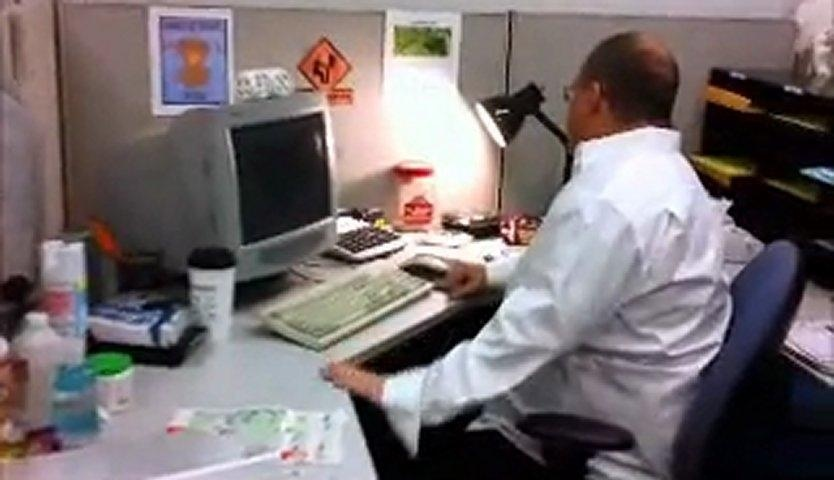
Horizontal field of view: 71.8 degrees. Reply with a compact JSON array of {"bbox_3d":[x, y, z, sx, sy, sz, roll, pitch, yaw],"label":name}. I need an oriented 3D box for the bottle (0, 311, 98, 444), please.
[{"bbox_3d":[-0.853,0.307,1.334,0.164,0.176,0.361,-12,20,-32],"label":"bottle"}]

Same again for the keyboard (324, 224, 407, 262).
[{"bbox_3d":[-0.171,-0.002,1.943,0.259,0.050,0.264,-15,21,-12],"label":"keyboard"}]

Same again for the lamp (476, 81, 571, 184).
[{"bbox_3d":[0.381,-0.409,2.094,0.331,0.387,0.159,-19,45,-7],"label":"lamp"}]

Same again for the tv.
[{"bbox_3d":[-0.506,-0.160,1.782,0.598,0.506,0.569,11,17,20],"label":"tv"}]
